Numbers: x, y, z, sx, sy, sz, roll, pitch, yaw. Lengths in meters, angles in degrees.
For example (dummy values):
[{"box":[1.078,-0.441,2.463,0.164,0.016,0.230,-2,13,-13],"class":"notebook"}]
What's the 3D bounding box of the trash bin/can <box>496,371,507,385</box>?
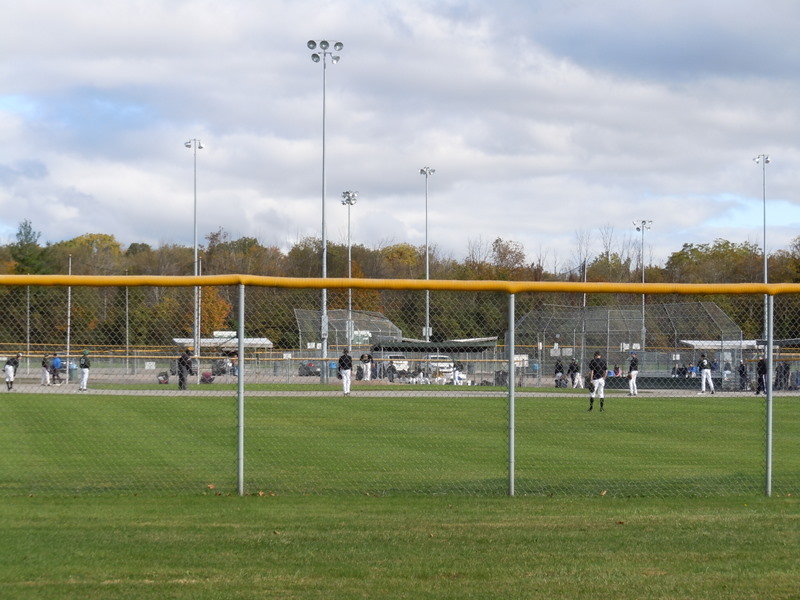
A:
[{"box":[1.588,1.217,29.188,0.202,0.218,0.199,-2,6,-22],"class":"trash bin/can"}]
